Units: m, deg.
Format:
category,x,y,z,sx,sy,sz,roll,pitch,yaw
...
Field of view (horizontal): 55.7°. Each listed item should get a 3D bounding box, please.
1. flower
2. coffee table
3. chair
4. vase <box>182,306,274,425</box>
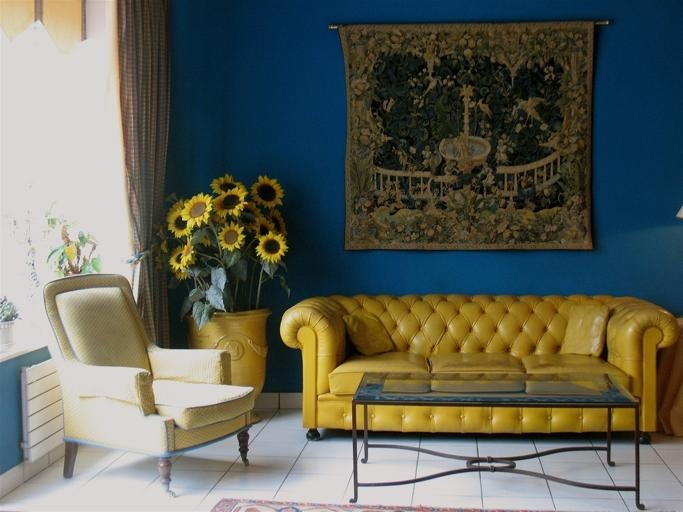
category,x,y,z,sx,sy,sz,roll,pitch,yaw
flower,-0.928,0.036,5.374,1.140,1.452,1.225,0,-3,6
coffee table,0.937,1.108,4.047,1.737,0.658,0.638,0,9,4
chair,-1.295,0.792,4.325,1.268,1.255,1.019,1,1,17
vase,-0.838,0.863,5.226,0.673,0.873,0.644,2,1,-1
